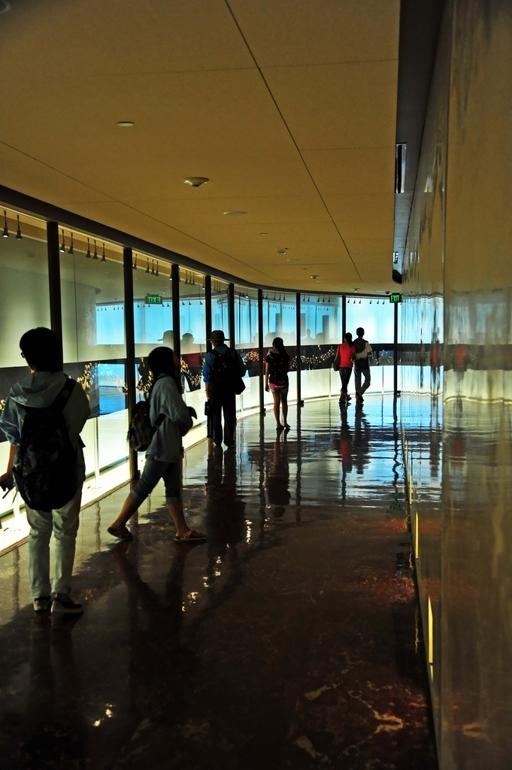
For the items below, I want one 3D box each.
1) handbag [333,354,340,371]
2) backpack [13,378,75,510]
[{"bbox_3d":[2.537,-0.695,16.750,0.146,0.441,0.276,1,0,3],"label":"handbag"},{"bbox_3d":[-1.407,0.392,3.526,0.407,0.866,0.210,-2,2,-25],"label":"backpack"}]
